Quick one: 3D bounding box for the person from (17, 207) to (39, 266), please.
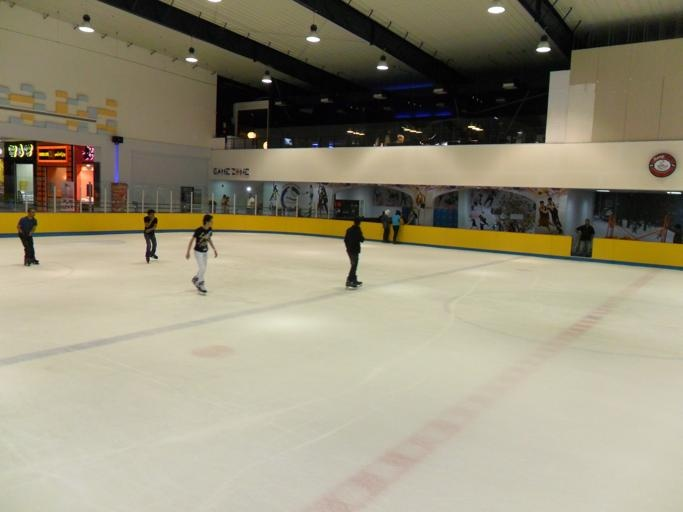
[{"bbox_3d":[-8.614,-0.556,13.511,0.445,1.469,2.056,-3,7,-32],"label":"person"}]

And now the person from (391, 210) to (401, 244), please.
[{"bbox_3d":[2.567,-1.353,23.373,0.418,1.449,0.717,2,6,6],"label":"person"}]

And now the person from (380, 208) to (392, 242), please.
[{"bbox_3d":[2.115,-1.387,23.720,0.468,1.452,0.919,2,6,5],"label":"person"}]

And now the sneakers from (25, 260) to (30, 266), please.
[{"bbox_3d":[-8.361,0.193,13.087,0.110,0.082,0.111,1,-1,14],"label":"sneakers"}]

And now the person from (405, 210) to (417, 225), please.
[{"bbox_3d":[3.442,-1.956,24.529,0.631,0.721,0.265,1,6,-3],"label":"person"}]

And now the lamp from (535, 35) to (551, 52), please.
[{"bbox_3d":[6.112,-6.453,14.932,0.298,0.508,0.489,4,7,25],"label":"lamp"}]

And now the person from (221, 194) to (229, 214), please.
[{"bbox_3d":[-6.633,-2.868,27.925,0.409,0.896,0.682,-1,6,-14],"label":"person"}]

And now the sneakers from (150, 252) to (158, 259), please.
[{"bbox_3d":[-5.709,-0.004,15.003,0.148,0.167,0.426,1,-2,-41],"label":"sneakers"}]
